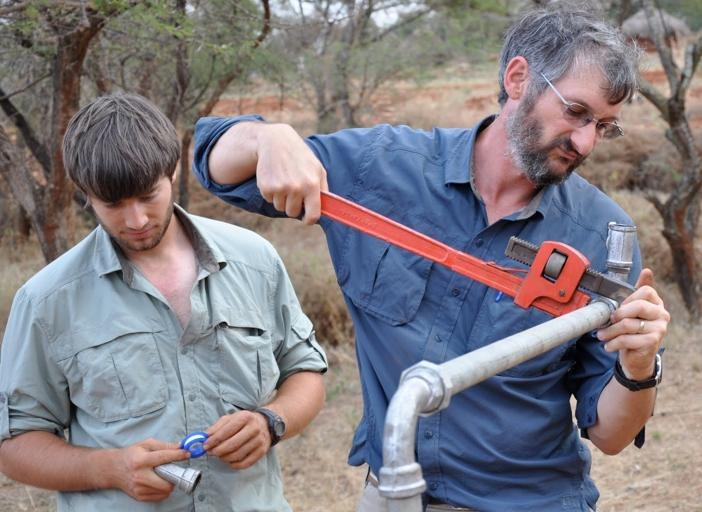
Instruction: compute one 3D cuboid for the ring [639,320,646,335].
[{"bbox_3d":[1.376,0.331,3.724,0.034,0.060,0.010,-7,9,-8],"label":"ring"}]
